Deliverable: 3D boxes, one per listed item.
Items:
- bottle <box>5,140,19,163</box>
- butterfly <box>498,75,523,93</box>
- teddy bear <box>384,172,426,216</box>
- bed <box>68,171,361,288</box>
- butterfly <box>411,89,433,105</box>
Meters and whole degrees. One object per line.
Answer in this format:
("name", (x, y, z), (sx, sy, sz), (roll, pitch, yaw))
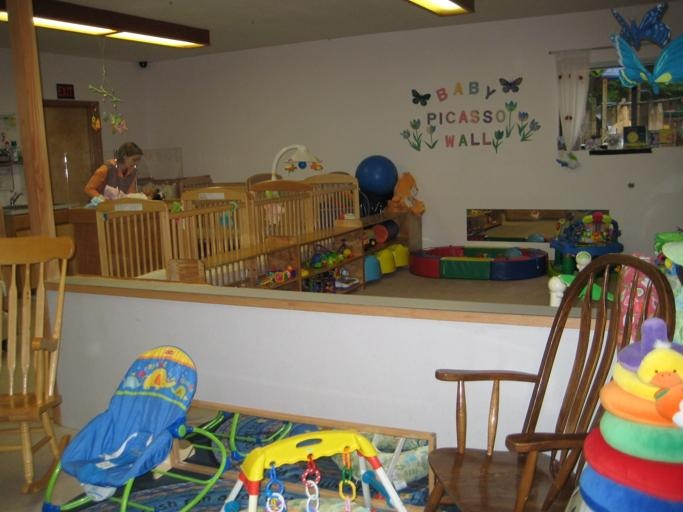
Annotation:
("bottle", (-4.304, -1.367, 6.969), (0.167, 0.297, 0.125), (-5, 9, -32))
("butterfly", (2.185, -2.208, 6.831), (0.223, 0.165, 0.049), (2, 13, 23))
("teddy bear", (0.873, -0.849, 7.341), (0.577, 0.586, 0.242), (4, -1, -34))
("bed", (-0.968, -0.209, 4.504), (1.305, 0.980, 1.839), (2, 4, 28))
("butterfly", (1.075, -2.160, 7.297), (0.309, 0.206, 0.083), (11, 4, 19))
